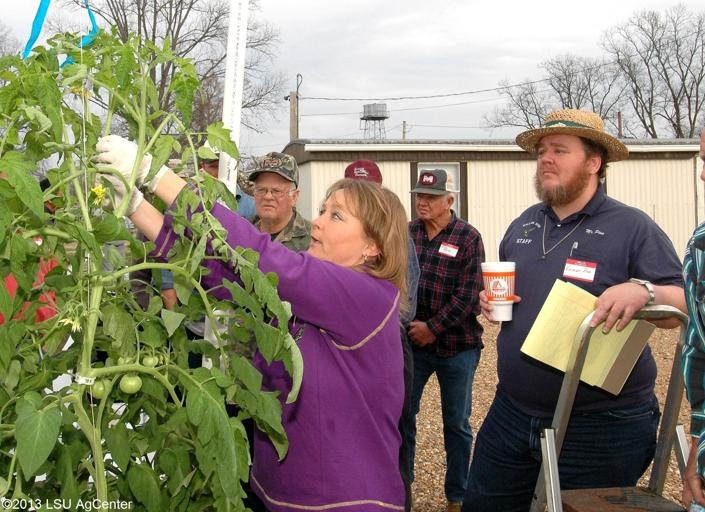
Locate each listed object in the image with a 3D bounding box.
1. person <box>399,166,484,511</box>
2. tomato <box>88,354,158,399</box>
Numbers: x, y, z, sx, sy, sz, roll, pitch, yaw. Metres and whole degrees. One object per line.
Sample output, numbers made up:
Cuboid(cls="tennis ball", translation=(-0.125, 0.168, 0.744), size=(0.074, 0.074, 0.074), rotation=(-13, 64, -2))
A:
Cuboid(cls="person", translation=(0.806, 0.524, 5.248), size=(0.805, 2.551, 0.928), rotation=(0, 2, 12))
Cuboid(cls="tomato", translation=(-0.594, 0.325, 1.616), size=(0.145, 0.117, 0.147), rotation=(1, 0, 0))
